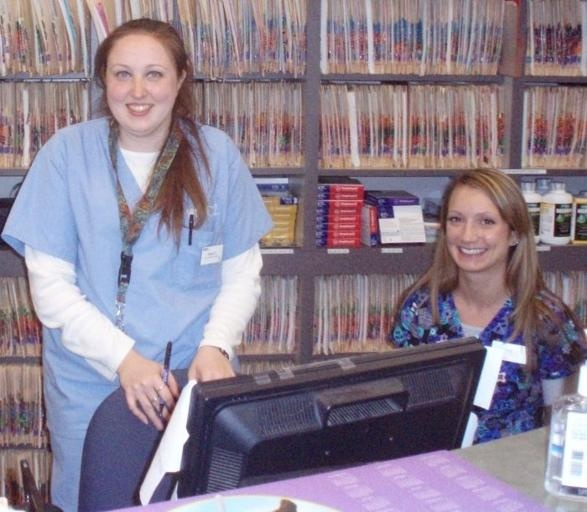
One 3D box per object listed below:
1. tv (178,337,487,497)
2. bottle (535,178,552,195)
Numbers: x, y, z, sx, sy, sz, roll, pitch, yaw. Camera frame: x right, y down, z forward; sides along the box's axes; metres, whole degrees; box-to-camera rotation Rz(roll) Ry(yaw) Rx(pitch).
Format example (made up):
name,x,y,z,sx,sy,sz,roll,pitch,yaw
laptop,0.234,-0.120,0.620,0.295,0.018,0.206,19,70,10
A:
name,x,y,z,sx,sy,sz,roll,pitch,yaw
tv,0.072,0.270,1.008,0.413,0.310,0.062,-7,45,-20
bottle,1.158,-0.326,2.884,0.076,0.091,0.080,4,12,31
